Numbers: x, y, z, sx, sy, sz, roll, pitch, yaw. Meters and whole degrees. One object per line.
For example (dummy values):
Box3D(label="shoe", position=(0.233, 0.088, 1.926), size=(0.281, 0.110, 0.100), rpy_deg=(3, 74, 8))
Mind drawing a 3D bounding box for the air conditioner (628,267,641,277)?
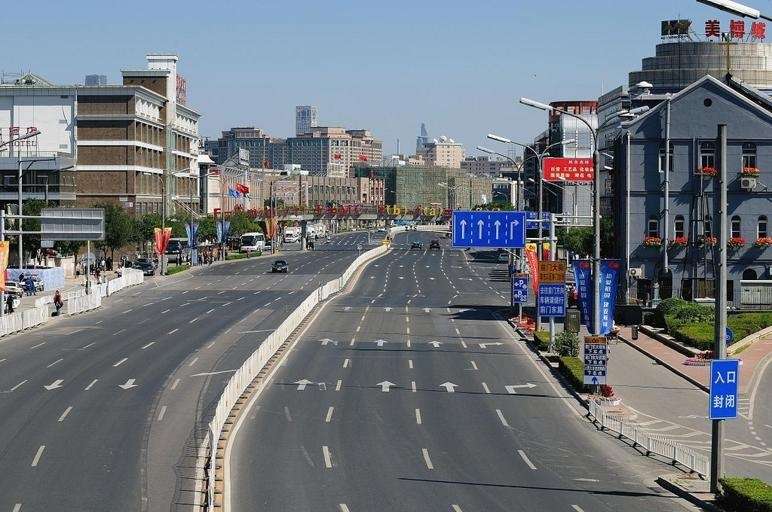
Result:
Box3D(label="air conditioner", position=(21.385, 1.250, 95.428), size=(1.187, 0.767, 0.625), rpy_deg=(1, 5, 0))
